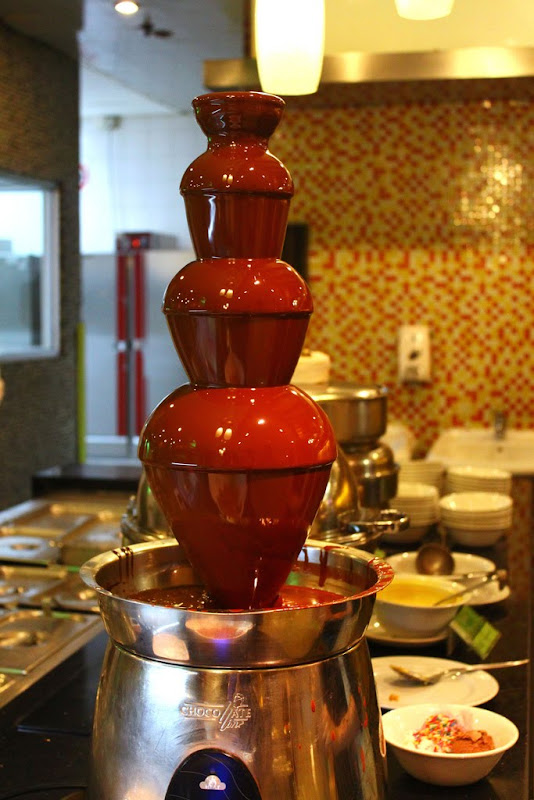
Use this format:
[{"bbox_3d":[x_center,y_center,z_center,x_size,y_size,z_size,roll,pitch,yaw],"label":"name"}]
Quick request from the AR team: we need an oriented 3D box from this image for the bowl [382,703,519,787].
[{"bbox_3d":[0.198,0.367,0.783,0.151,0.065,0.132,6,-4,3],"label":"bowl"}]

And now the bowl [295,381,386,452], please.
[{"bbox_3d":[0.167,0.038,1.566,0.154,0.098,0.164,1,-1,0],"label":"bowl"}]

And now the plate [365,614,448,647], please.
[{"bbox_3d":[0.222,0.369,1.171,0.124,0.045,0.085,5,-4,13],"label":"plate"}]

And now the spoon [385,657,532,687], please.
[{"bbox_3d":[0.264,0.384,1.042,0.208,0.030,0.043,1,-3,-9],"label":"spoon"}]

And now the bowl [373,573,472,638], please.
[{"bbox_3d":[0.238,0.328,1.189,0.110,0.044,0.107,6,8,-1],"label":"bowl"}]

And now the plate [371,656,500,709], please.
[{"bbox_3d":[0.225,0.384,1.002,0.157,0.026,0.201,6,-4,6],"label":"plate"}]
